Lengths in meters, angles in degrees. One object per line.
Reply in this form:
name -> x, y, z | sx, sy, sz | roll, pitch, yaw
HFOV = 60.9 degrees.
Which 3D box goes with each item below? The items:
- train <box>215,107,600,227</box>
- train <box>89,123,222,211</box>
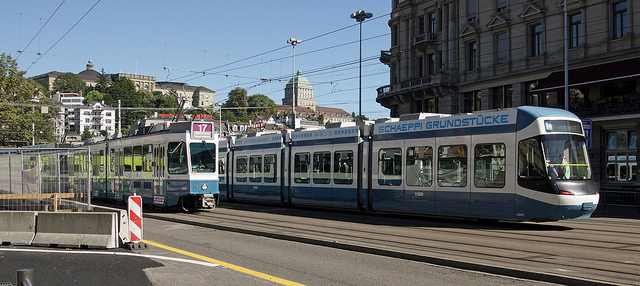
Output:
train -> 3.863, 1.300, 38.988 | 28.143, 7.590, 3.958 | 2, 5, 32
train -> -13.505, 1.702, 42.192 | 13.670, 6.580, 3.516 | 2, 5, 37
